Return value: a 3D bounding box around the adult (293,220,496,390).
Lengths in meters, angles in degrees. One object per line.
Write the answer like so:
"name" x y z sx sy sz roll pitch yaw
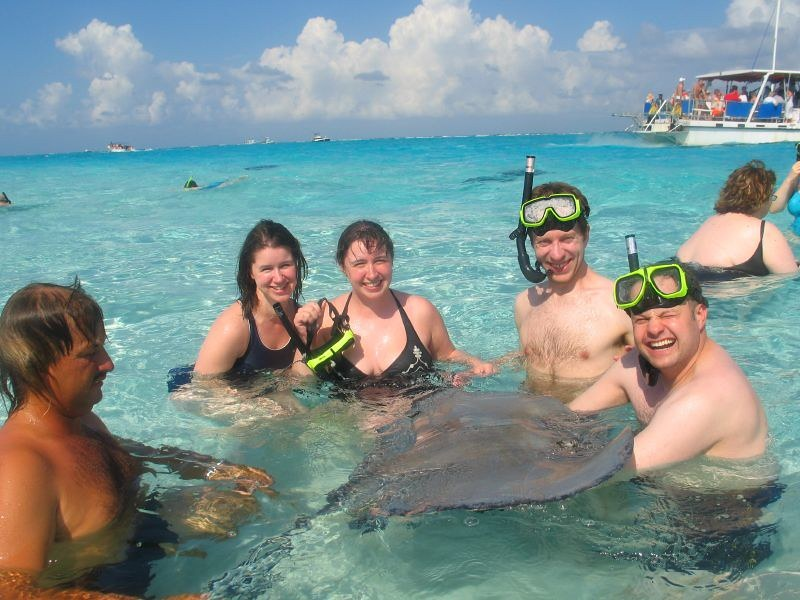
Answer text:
"adult" -0.010 0.065 6.628 2.633 1.687 1.311 -7 2 -18

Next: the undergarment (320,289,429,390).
"undergarment" -0.149 0.309 5.409 0.754 0.795 0.378 -15 5 4

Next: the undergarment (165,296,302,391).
"undergarment" -1.452 0.485 5.437 1.282 0.427 0.719 -18 40 -11

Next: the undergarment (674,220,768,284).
"undergarment" 4.087 -0.611 7.633 1.216 0.750 0.686 -11 3 16

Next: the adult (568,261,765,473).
"adult" 1.707 0.348 3.852 0.910 1.124 0.898 -3 19 -7

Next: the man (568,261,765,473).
"man" 1.709 0.348 3.852 0.914 1.124 0.898 -3 19 -7
